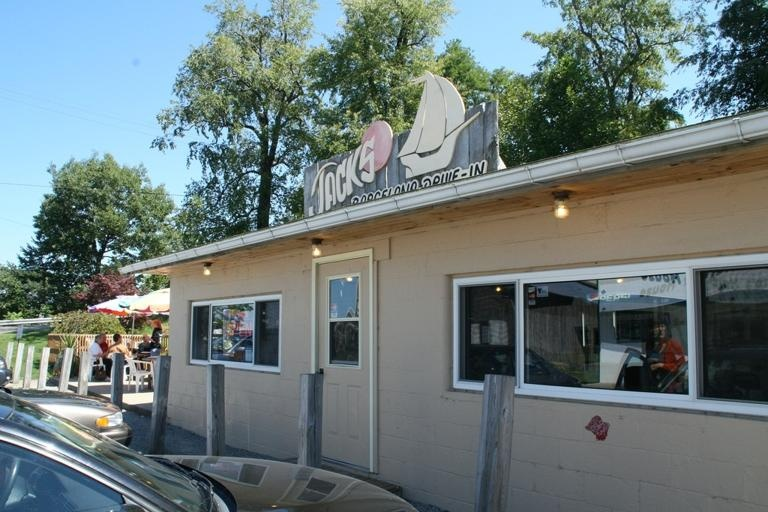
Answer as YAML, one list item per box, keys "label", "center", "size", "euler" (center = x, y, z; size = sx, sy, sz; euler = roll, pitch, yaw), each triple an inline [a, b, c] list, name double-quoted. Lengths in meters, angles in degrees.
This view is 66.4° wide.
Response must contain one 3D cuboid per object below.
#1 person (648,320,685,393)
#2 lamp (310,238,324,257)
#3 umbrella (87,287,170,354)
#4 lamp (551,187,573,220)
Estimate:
- label: "person"
  center: [2.939, 1.112, 6.102]
  size: [0.388, 0.896, 0.395]
  euler: [0, -4, 35]
- label: "lamp"
  center: [-0.954, -0.164, 8.551]
  size: [0.211, 0.261, 0.222]
  euler: [3, 0, 37]
- label: "umbrella"
  center: [-10.042, 2.385, 23.005]
  size: [2.927, 1.871, 3.007]
  euler: [-3, -10, 12]
- label: "lamp"
  center: [1.899, -0.589, 6.283]
  size: [0.235, 0.372, 0.241]
  euler: [-1, -4, 22]
